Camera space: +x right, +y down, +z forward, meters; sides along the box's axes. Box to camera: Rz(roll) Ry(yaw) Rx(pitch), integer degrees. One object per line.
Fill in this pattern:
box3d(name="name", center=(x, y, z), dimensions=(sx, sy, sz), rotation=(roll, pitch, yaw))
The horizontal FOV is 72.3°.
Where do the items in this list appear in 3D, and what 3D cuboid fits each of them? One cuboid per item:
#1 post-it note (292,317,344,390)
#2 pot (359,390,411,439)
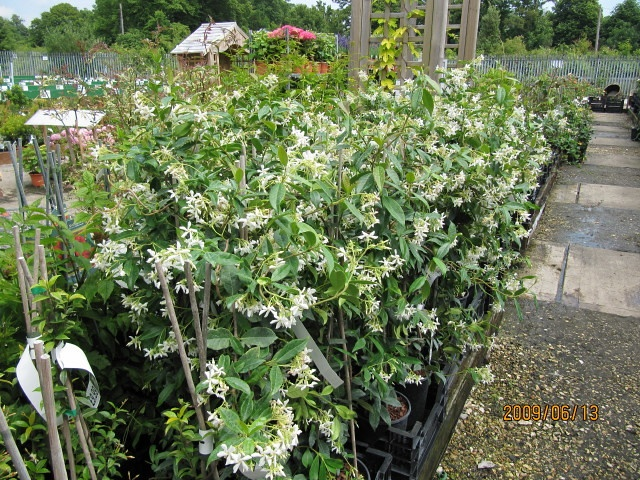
box3d(name="post-it note", center=(0.005, 0.400, 1.499), dimensions=(0.088, 0.373, 0.064), rotation=(-38, 35, 6))
box3d(name="pot", center=(0.323, 0.907, 2.212), dimensions=(0.263, 0.180, 0.267), rotation=(-2, 21, 1))
